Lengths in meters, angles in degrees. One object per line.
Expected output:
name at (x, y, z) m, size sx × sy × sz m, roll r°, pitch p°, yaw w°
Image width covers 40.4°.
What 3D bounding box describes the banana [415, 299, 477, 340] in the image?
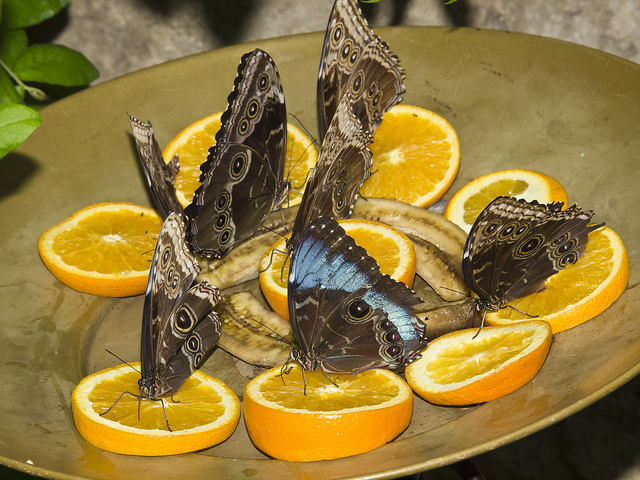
banana at (0.568, 0.347, 3.628) m, size 0.093 × 0.335 × 0.090 m, roll -22°, pitch 91°, yaw -35°
